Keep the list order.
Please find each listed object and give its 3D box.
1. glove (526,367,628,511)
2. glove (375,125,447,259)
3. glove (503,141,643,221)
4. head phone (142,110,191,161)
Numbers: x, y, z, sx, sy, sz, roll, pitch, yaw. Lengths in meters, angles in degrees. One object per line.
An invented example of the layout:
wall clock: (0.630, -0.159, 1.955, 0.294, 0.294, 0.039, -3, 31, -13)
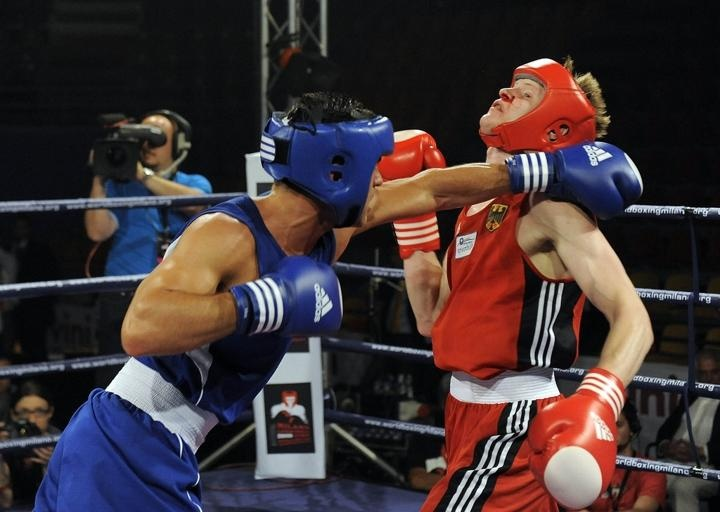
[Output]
glove: (0.899, 0.728, 3.661, 0.383, 0.509, 0.240, 28, -18, -9)
glove: (0.272, -0.330, 4.514, 0.231, 0.560, 0.558, -1, -5, -42)
glove: (0.967, -0.358, 3.988, 0.466, 0.233, 0.361, 7, 13, -2)
head phone: (-1.332, -0.810, 6.108, 0.300, 0.299, 0.315, -5, 13, 23)
